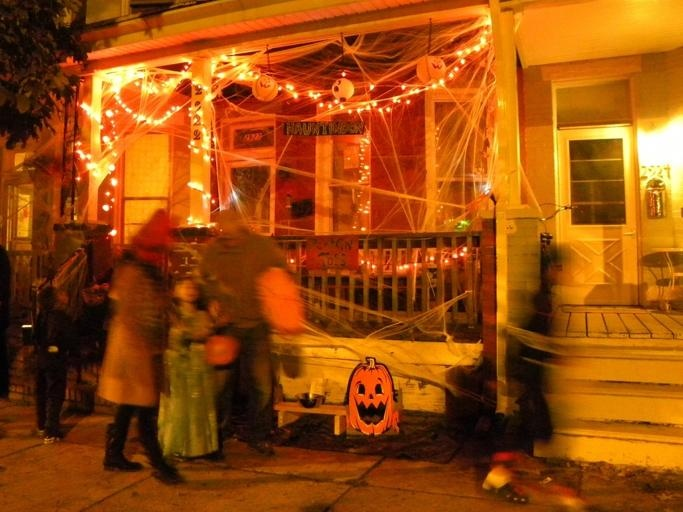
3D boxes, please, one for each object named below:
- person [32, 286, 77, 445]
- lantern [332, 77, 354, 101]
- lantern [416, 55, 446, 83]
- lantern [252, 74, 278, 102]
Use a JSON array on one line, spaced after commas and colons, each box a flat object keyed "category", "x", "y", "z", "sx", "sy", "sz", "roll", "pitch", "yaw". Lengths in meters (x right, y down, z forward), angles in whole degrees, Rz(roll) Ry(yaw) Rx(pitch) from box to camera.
[{"category": "person", "x": -3.605, "y": 1.298, "z": 8.395, "sx": 0.465, "sy": 1.833, "sz": 0.695, "roll": -4, "pitch": 10, "yaw": -14}, {"category": "lantern", "x": -0.002, "y": -2.515, "z": 10.169, "sx": 0.360, "sy": 0.400, "sz": 0.353, "roll": 4, "pitch": 11, "yaw": -3}, {"category": "lantern", "x": 1.244, "y": -2.587, "z": 9.384, "sx": 0.390, "sy": 0.380, "sz": 0.377, "roll": 0, "pitch": 6, "yaw": 9}, {"category": "lantern", "x": -1.132, "y": -2.595, "z": 10.286, "sx": 0.423, "sy": 0.373, "sz": 0.364, "roll": -7, "pitch": 11, "yaw": -32}]
